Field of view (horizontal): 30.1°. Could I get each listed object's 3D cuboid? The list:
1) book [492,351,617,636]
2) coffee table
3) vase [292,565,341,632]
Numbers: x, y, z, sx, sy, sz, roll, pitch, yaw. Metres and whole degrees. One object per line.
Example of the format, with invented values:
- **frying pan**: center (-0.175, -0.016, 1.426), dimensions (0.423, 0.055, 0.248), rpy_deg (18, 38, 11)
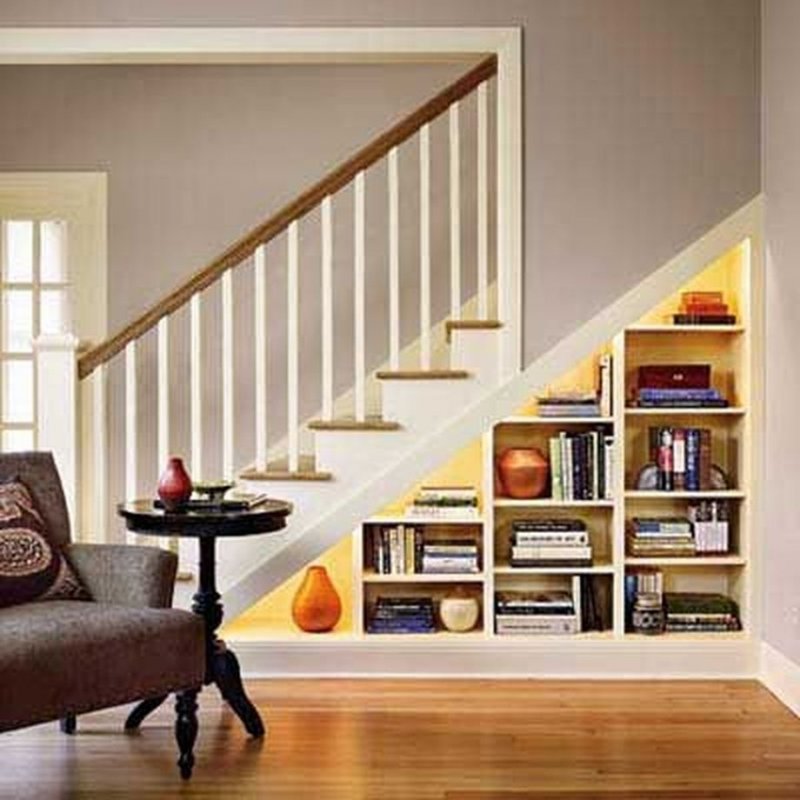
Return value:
- **book**: center (0.586, 0.355, 5.808), dimensions (0.502, 1.020, 0.537), rpy_deg (1, 12, 4)
- **coffee table**: center (-0.718, 0.761, 5.145), dimensions (0.698, 0.986, 0.717), rpy_deg (0, 1, 43)
- **vase**: center (-0.324, 0.758, 5.706), dimensions (0.205, 0.307, 0.215), rpy_deg (0, 0, -12)
